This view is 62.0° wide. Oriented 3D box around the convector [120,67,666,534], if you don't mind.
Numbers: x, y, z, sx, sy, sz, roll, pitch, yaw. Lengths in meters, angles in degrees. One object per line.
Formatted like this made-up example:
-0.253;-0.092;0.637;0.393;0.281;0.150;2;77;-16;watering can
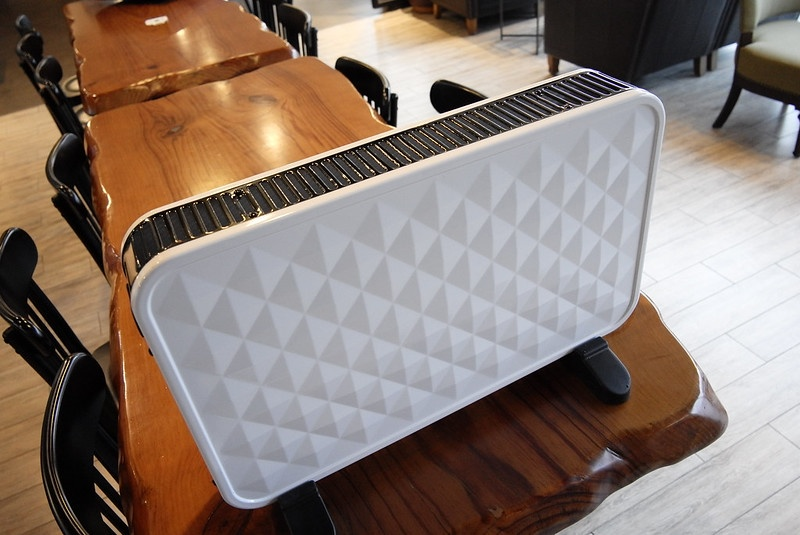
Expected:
0.032;0.037;1.571;1.189;0.594;0.566;-26;50;-15;convector
